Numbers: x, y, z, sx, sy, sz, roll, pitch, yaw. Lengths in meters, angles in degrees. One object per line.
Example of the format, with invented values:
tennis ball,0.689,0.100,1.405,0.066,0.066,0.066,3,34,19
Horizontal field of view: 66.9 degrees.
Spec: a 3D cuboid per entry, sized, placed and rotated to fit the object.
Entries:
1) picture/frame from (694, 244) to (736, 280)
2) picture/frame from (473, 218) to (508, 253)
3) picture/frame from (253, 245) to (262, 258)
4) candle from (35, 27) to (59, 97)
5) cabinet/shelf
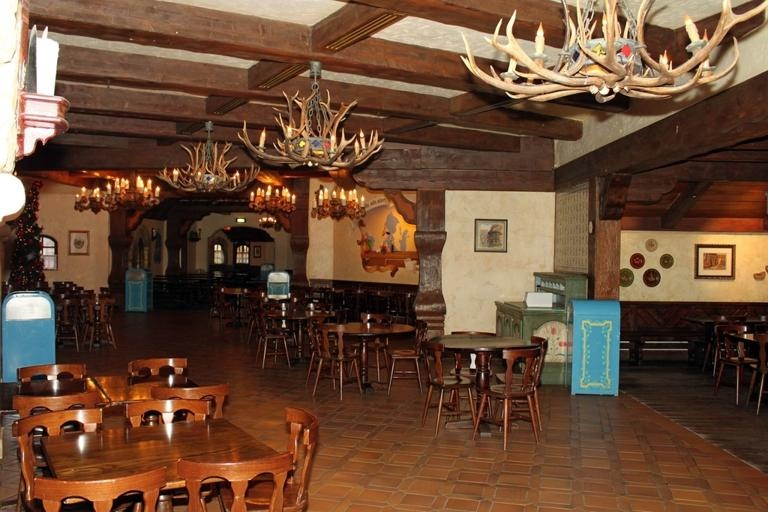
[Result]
picture/frame,6.394,0.106,11.186,0.882,0.719,0.070,0,1,-9
picture/frame,1.991,-0.370,10.654,0.749,0.633,0.049,0,0,-1
picture/frame,-6.165,-0.231,28.417,0.426,0.593,0.107,0,-2,-3
candle,-1.750,-1.004,3.011,0.094,0.414,0.241,2,-3,-29
cabinet/shelf,2.409,1.119,8.695,0.725,1.164,1.879,2,-3,-3
